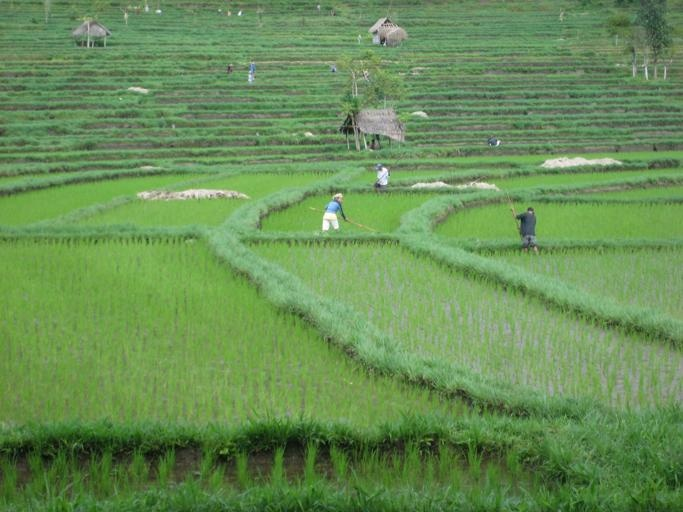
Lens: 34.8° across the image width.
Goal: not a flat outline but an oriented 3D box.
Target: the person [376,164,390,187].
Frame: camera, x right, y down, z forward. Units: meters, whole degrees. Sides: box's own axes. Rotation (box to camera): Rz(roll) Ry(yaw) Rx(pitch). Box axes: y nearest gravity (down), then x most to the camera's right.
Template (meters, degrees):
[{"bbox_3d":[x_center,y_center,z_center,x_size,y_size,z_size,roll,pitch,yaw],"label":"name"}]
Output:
[{"bbox_3d":[1.555,-3.112,41.923,0.482,0.879,0.552,-2,13,-6],"label":"person"}]

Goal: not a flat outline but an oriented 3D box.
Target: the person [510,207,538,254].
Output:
[{"bbox_3d":[5.894,-0.896,34.720,0.722,1.313,0.907,2,13,11],"label":"person"}]
